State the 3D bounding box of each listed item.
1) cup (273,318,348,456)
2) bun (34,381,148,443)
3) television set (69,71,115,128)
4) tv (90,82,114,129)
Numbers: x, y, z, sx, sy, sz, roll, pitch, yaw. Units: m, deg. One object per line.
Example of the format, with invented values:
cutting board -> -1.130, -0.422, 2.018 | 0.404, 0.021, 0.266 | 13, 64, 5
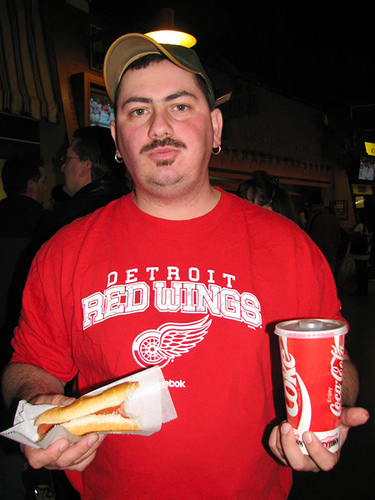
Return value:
cup -> 0.328, 0.340, 1.075 | 0.164, 0.358, 0.236 | 5, 10, 40
bun -> -0.229, 0.398, 1.010 | 0.260, 0.136, 0.075 | -12, -34, 3
television set -> -1.441, -2.160, 6.532 | 0.362, 1.032, 1.103 | 10, 18, 19
tv -> -1.300, -2.159, 6.224 | 0.701, 0.678, 0.060 | 29, 40, 35
